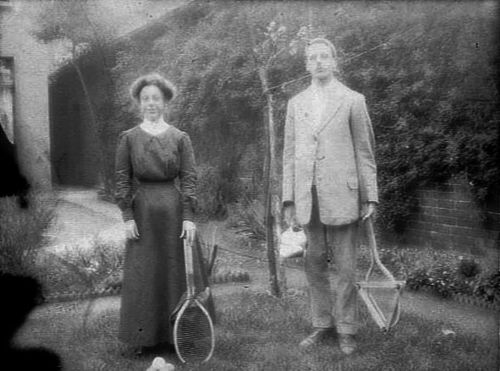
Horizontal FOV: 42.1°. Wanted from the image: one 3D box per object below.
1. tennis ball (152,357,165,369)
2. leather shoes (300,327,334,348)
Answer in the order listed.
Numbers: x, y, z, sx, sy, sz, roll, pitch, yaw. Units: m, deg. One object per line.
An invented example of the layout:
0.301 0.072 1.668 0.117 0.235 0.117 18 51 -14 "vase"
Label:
-0.776 1.691 6.244 0.098 0.085 0.090 1 10 0 "tennis ball"
0.698 1.520 6.481 0.419 0.162 0.134 -5 1 -1 "leather shoes"
